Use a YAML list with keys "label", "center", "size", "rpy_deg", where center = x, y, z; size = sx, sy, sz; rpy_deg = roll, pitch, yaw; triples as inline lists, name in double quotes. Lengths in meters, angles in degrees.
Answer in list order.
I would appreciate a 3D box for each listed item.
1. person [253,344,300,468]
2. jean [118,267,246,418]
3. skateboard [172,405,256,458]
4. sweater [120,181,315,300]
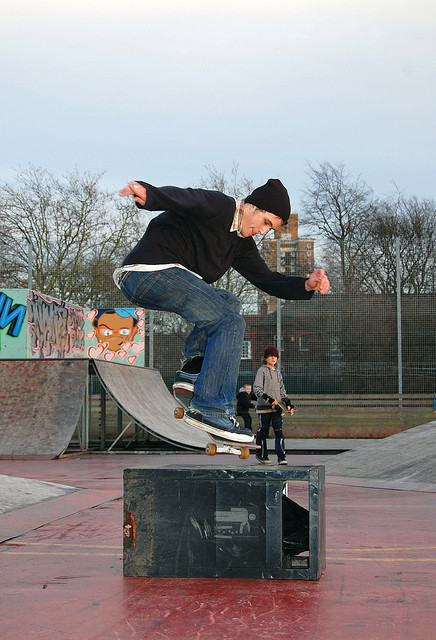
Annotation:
- label: "person"
  center: [0.689, 1.065, 9.395]
  size: [0.534, 1.403, 0.599]
  rpy_deg: [4, -6, -39]
- label: "jean"
  center: [-0.180, 0.138, 4.215]
  size: [0.709, 0.929, 0.726]
  rpy_deg: [-5, -3, 3]
- label: "skateboard"
  center: [-0.037, 0.587, 3.998]
  size: [0.482, 0.167, 0.134]
  rpy_deg: [19, 9, -1]
- label: "sweater"
  center: [0.011, -0.415, 4.042]
  size: [0.921, 0.881, 0.717]
  rpy_deg: [1, 2, -7]
